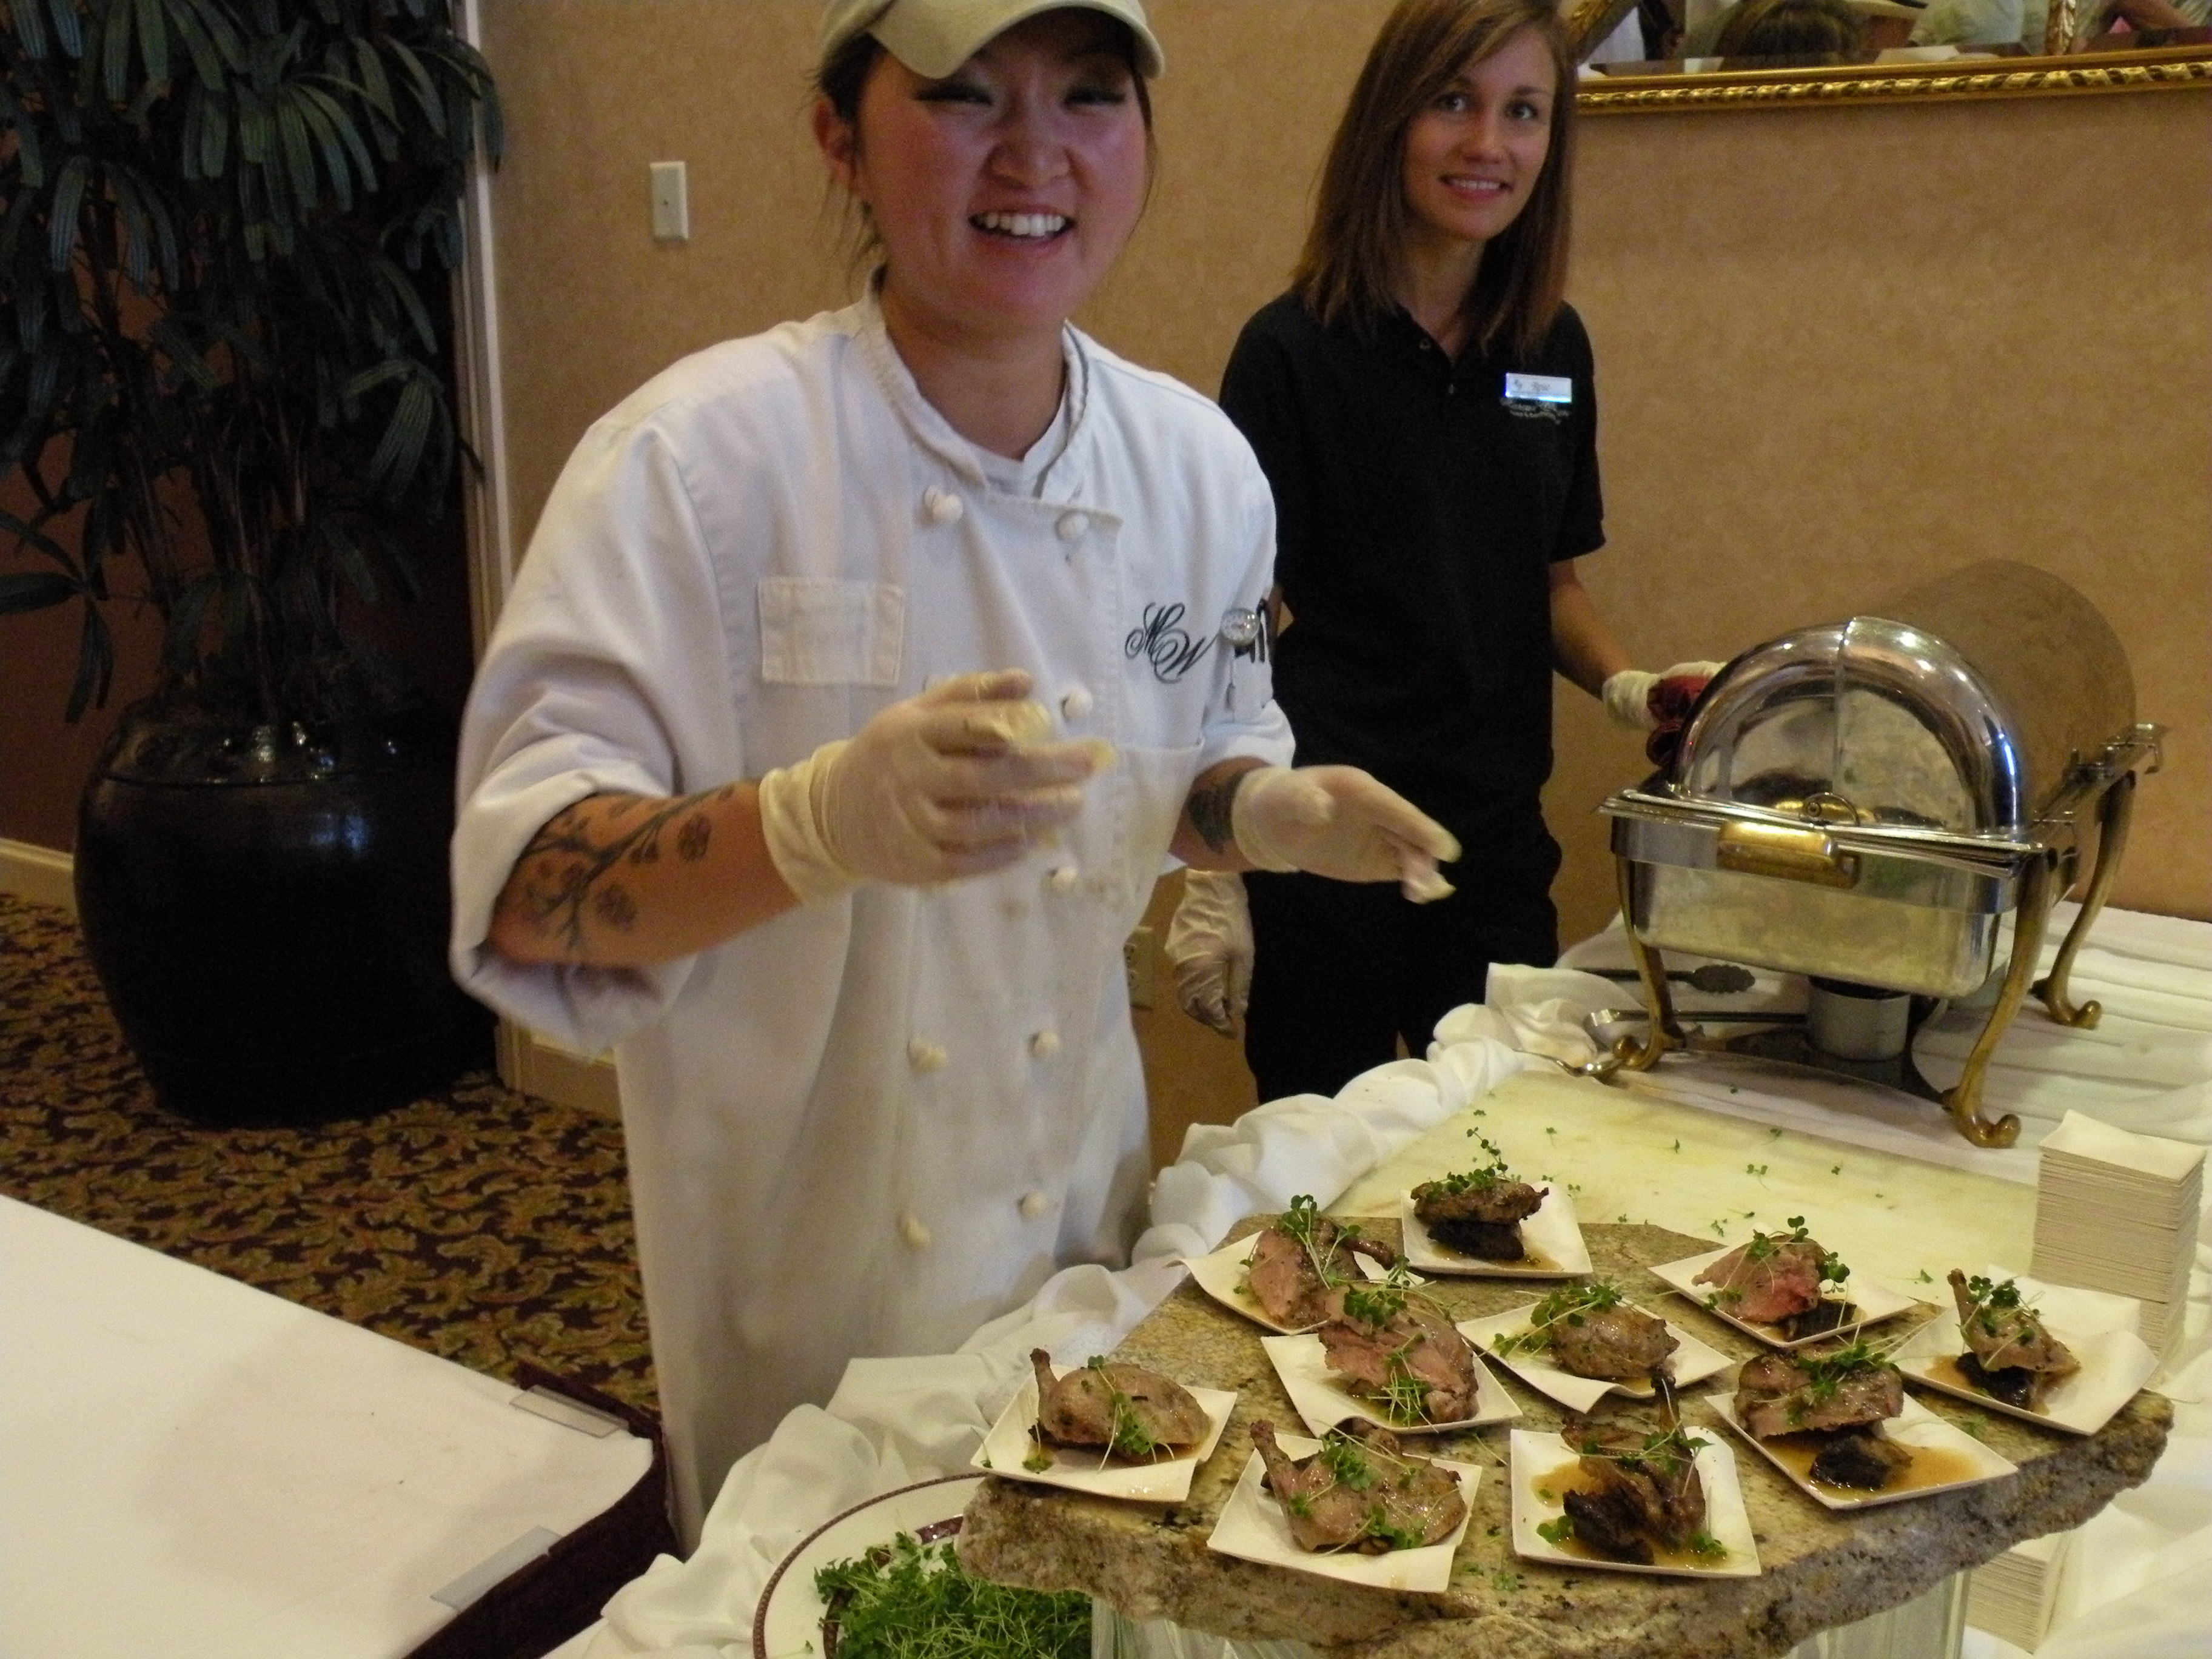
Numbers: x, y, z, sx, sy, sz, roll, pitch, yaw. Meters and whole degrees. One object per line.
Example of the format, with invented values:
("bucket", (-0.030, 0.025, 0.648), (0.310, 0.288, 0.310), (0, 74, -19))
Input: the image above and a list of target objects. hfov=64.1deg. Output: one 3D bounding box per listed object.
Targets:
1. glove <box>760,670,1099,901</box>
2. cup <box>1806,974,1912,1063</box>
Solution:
("glove", (-0.135, -0.021, 1.257), (0.275, 0.202, 0.082), (7, 25, 12))
("cup", (0.845, 0.219, 2.009), (0.091, 0.068, 0.093), (1, 12, 0))
